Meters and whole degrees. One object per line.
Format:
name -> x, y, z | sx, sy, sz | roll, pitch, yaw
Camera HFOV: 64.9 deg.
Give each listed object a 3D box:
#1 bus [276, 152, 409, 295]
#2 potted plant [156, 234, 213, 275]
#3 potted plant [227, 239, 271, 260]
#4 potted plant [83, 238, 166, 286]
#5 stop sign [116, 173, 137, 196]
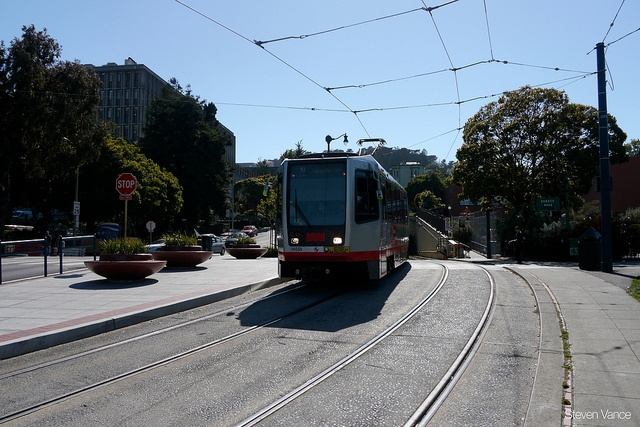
bus -> 1.053, 0.290, 17.062 | 2.824, 4.666, 5.323 | 3, 6, 29
potted plant -> -5.893, 1.729, 22.165 | 1.561, 0.937, 1.724 | -4, -11, 11
potted plant -> -4.038, 2.086, 28.372 | 1.348, 0.568, 1.319 | 9, -13, -39
potted plant -> -6.502, 1.584, 16.874 | 1.658, 0.921, 1.614 | 10, -16, -42
stop sign -> -7.850, -1.191, 20.386 | 0.604, 0.861, 0.790 | -4, 7, -35
